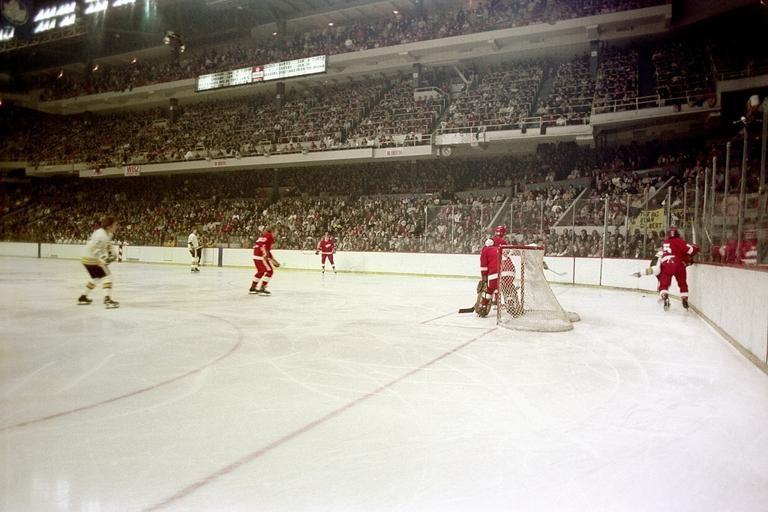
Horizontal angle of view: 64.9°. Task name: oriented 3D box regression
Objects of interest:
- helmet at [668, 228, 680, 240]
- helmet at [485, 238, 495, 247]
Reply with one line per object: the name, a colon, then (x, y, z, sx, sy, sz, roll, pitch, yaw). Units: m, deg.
helmet: (9.110, -0.723, 18.858, 0.278, 0.374, 0.394, 10, 13, 28)
helmet: (2.972, -0.380, 16.983, 0.190, 0.145, 0.193, 0, 6, -4)
